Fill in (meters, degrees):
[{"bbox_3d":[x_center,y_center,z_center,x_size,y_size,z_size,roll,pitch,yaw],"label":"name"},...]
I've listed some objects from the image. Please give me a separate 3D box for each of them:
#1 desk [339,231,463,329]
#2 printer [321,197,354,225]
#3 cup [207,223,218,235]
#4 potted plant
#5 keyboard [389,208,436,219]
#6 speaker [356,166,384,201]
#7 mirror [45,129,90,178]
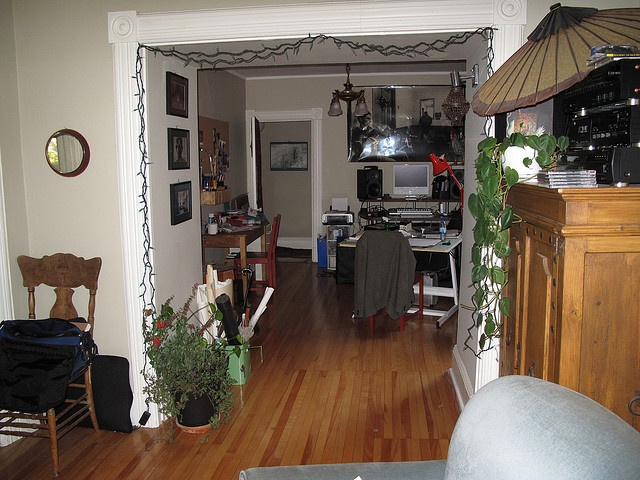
[{"bbox_3d":[1.314,0.382,6.176,1.233,1.044,1.162,4,20,20],"label":"desk"},{"bbox_3d":[0.287,-0.494,7.803,0.416,0.478,0.453,0,6,8],"label":"printer"},{"bbox_3d":[-1.283,-0.134,5.753,0.120,0.127,0.144,-3,11,-14],"label":"cup"},{"bbox_3d":[-0.863,0.821,3.693,0.738,1.105,0.830,3,8,14],"label":"potted plant"},{"bbox_3d":[1.463,-0.412,7.762,0.738,0.141,0.418,0,11,3],"label":"keyboard"},{"bbox_3d":[0.847,-0.950,8.100,0.428,0.542,0.178,0,10,1],"label":"speaker"},{"bbox_3d":[-1.777,-0.623,3.405,0.277,0.373,0.045,2,11,7],"label":"mirror"}]
